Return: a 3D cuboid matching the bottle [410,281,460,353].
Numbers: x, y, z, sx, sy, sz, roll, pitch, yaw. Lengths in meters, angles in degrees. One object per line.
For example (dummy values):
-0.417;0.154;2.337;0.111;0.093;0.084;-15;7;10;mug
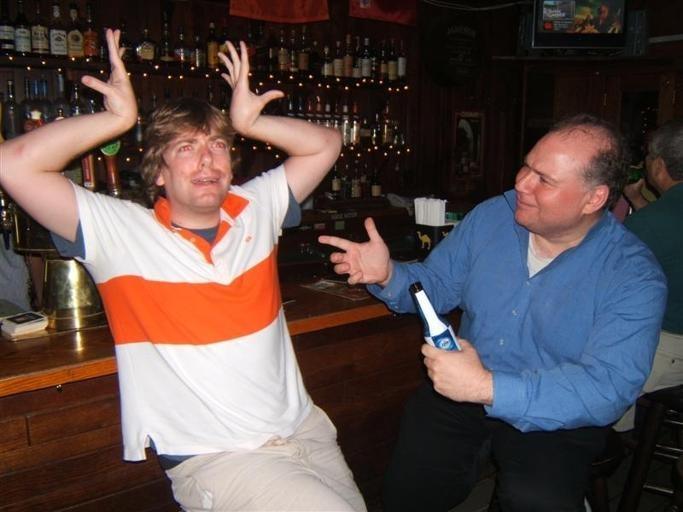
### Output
0.321;0.205;1.746;0.151;0.233;0.265;-5;14;-9;bottle
